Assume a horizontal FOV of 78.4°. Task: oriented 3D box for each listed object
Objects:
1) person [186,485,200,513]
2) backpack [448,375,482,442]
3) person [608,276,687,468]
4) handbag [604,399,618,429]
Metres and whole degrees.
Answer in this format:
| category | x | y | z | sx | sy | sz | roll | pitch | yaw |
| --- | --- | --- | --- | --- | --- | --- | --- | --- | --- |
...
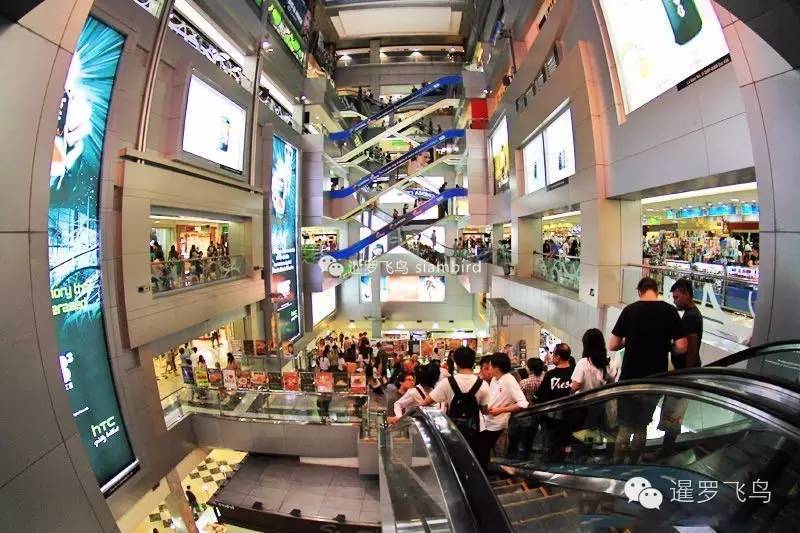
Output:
| category | x | y | z | sx | sy | sz | roll | pitch | yaw |
| --- | --- | --- | --- | --- | --- | --- | --- | --- | --- |
| person | -5.211 | 5.744 | 12.321 | 0.295 | 0.541 | 1.069 | -1 | 1 | -23 |
| backpack | 0.834 | 1.861 | 6.286 | 0.457 | 0.896 | 0.292 | -1 | 1 | 2 |
| person | 2.910 | 1.139 | 5.879 | 0.843 | 1.980 | 1.376 | -1 | 1 | 33 |
| handbag | 2.395 | 1.663 | 5.569 | 0.039 | 0.341 | 0.169 | -1 | 1 | -17 |
